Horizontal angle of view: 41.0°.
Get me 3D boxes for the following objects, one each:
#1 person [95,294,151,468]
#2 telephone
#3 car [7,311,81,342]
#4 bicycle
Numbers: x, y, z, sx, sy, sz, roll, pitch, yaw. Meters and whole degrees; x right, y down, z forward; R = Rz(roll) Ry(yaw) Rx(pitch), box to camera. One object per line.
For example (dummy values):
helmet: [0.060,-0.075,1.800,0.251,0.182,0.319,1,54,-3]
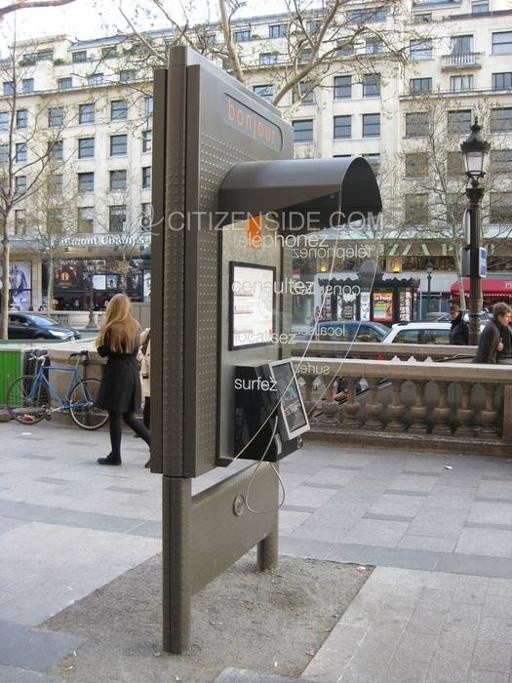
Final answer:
person: [-1.401,0.286,7.198,0.723,2.048,0.694,8,7,-1]
telephone: [0.067,0.346,3.508,0.367,0.683,0.712,-2,-1,16]
car: [-8.371,-0.587,26.078,2.162,0.919,3.230,-2,4,-21]
bicycle: [-2.812,0.662,9.518,1.741,1.059,0.621,2,4,38]
